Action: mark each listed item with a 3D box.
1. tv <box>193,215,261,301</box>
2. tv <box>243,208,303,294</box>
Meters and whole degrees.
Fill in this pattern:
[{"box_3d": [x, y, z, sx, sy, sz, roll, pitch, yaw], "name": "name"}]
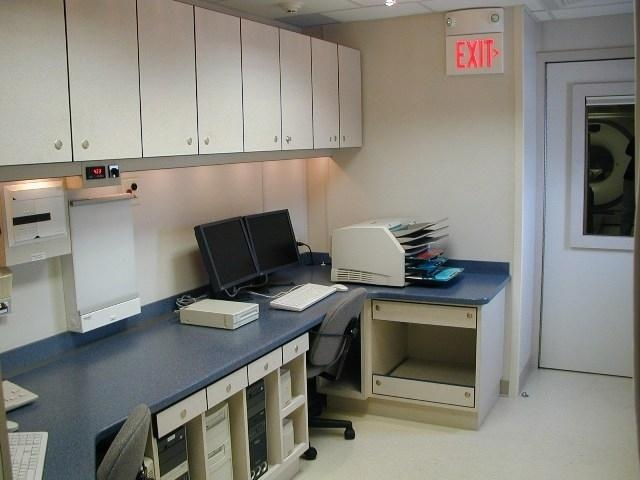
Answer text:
[{"box_3d": [-0.623, 0.121, 3.217, 0.156, 0.440, 0.390, -9, 15, 34], "name": "tv"}, {"box_3d": [-0.353, 0.089, 3.540, 0.215, 0.421, 0.441, -9, 17, 27], "name": "tv"}]
